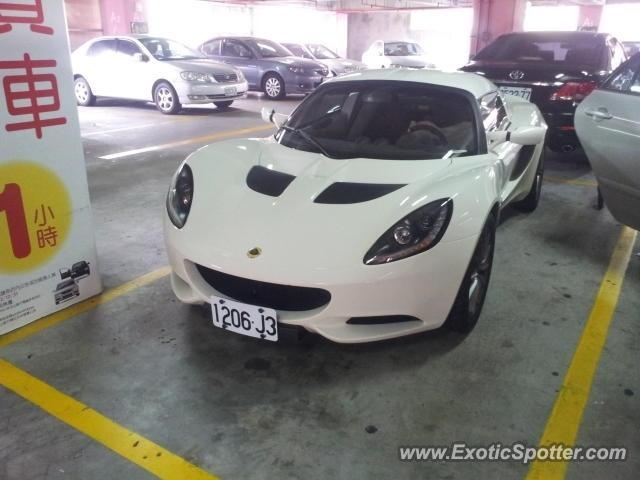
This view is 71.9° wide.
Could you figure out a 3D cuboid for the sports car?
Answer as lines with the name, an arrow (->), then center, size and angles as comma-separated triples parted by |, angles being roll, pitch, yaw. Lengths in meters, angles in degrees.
sports car -> 0.526, -0.434, 3.351 | 1.720, 1.012, 3.040 | 11, 31, 26
